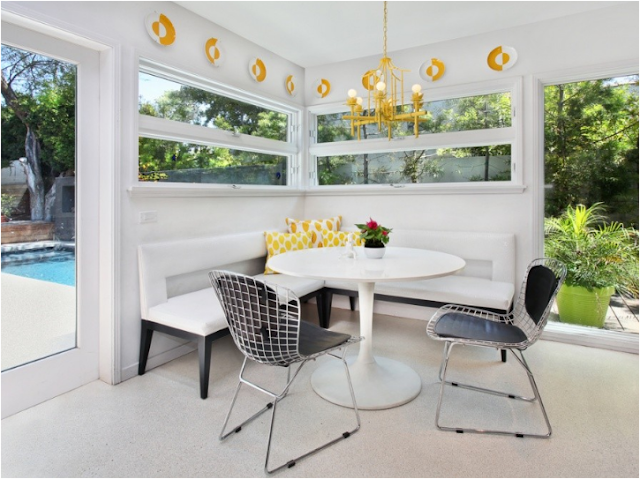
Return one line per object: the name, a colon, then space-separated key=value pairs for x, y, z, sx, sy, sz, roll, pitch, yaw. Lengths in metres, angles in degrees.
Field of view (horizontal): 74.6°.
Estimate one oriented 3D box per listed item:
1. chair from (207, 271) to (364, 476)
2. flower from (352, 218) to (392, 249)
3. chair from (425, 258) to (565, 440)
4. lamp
chair: x=-0.264 y=0.707 z=2.724 sx=0.848 sy=1.097 sz=0.871 roll=-12 pitch=18 yaw=-39
flower: x=0.408 y=-0.048 z=3.275 sx=0.222 sy=0.219 sz=0.219 roll=6 pitch=15 yaw=24
chair: x=1.190 y=0.713 z=3.479 sx=1.182 sy=1.602 sz=1.132 roll=1 pitch=0 yaw=14
lamp: x=0.631 y=-1.522 z=3.918 sx=0.798 sy=1.185 sz=2.002 roll=0 pitch=14 yaw=3
